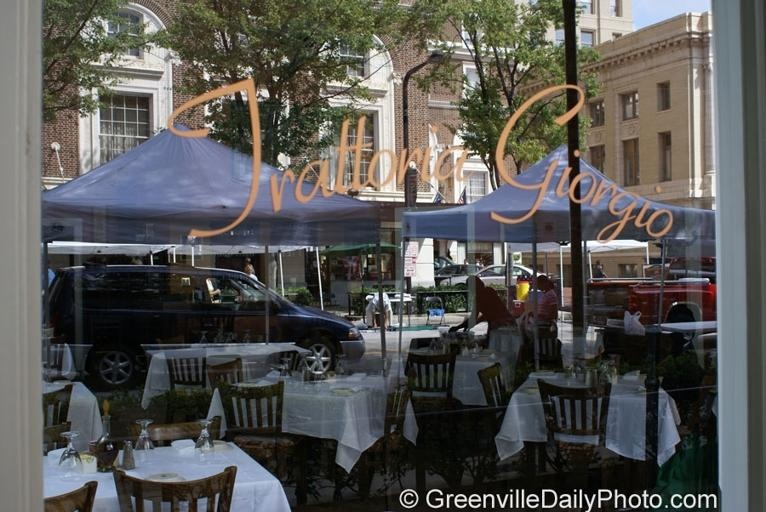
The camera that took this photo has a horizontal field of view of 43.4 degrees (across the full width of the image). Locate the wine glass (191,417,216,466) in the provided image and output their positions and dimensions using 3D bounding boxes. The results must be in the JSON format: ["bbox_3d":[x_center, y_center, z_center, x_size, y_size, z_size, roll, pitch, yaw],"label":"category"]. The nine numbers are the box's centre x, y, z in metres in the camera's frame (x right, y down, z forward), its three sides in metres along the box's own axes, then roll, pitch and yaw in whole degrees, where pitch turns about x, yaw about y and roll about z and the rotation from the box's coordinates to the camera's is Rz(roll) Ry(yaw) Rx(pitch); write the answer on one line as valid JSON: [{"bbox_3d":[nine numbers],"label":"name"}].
[{"bbox_3d":[-1.162,1.231,6.345,0.123,0.303,0.129,2,20,32],"label":"wine glass"}]

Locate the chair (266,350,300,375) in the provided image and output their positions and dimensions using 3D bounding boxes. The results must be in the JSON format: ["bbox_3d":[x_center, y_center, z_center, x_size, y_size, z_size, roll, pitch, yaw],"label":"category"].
[{"bbox_3d":[-0.697,0.763,6.944,0.180,0.287,0.182,0,1,21],"label":"chair"}]

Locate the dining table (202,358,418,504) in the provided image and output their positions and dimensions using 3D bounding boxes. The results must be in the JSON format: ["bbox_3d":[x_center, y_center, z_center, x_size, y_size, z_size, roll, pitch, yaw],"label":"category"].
[{"bbox_3d":[-0.391,1.407,7.310,1.073,0.625,1.124,-1,-4,32],"label":"dining table"}]

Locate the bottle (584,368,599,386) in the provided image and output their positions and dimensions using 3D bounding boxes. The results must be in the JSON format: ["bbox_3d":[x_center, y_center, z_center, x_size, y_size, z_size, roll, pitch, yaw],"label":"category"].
[{"bbox_3d":[1.606,0.939,7.399,0.104,0.136,0.110,0,1,0],"label":"bottle"}]

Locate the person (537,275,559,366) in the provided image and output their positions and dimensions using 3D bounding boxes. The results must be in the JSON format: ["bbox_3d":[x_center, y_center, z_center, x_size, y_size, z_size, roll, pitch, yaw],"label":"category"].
[{"bbox_3d":[1.256,0.504,7.270,0.156,0.602,0.730,-2,-1,9],"label":"person"}]

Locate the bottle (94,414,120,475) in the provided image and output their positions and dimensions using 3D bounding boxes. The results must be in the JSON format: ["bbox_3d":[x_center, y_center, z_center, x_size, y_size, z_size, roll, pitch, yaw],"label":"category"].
[{"bbox_3d":[-1.754,1.168,6.112,0.179,0.394,0.178,2,8,0],"label":"bottle"}]
